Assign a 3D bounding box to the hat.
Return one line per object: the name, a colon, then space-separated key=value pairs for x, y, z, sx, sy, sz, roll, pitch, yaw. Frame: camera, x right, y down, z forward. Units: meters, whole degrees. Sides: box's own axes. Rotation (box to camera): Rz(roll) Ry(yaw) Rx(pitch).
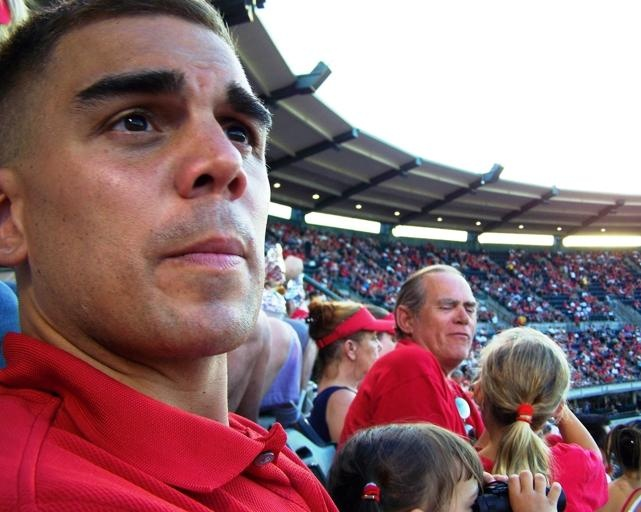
hat: x=0.245 y=0.511 z=4.287 sx=0.466 sy=0.172 sz=0.291 roll=-20 pitch=-6 yaw=-4
